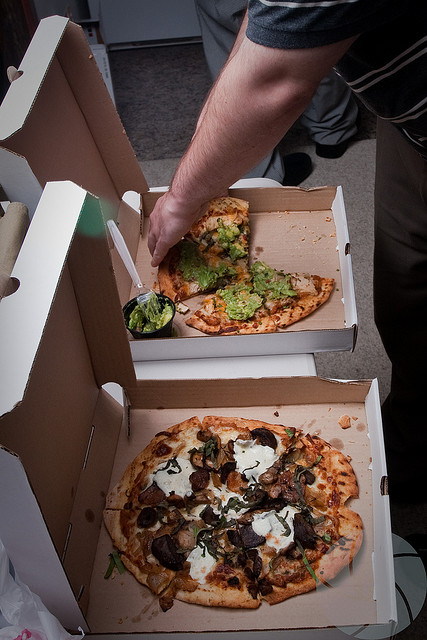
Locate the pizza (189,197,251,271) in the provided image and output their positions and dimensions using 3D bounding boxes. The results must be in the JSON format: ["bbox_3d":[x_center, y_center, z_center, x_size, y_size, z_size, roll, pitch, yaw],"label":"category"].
[{"bbox_3d":[0.024,-0.198,1.133,0.135,0.069,0.180,3,57,2],"label":"pizza"}]

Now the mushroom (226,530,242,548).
[{"bbox_3d":[0.030,0.303,0.671,0.012,0.005,0.021,-13,50,2],"label":"mushroom"}]

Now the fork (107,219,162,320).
[{"bbox_3d":[-0.130,-0.058,0.986,0.052,0.313,0.036,-30,45,-11],"label":"fork"}]

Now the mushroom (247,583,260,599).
[{"bbox_3d":[0.053,0.350,0.625,0.014,0.005,0.019,-7,56,1],"label":"mushroom"}]

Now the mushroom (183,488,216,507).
[{"bbox_3d":[-0.019,0.264,0.715,0.033,0.012,0.021,-3,47,9],"label":"mushroom"}]

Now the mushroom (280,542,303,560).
[{"bbox_3d":[0.106,0.320,0.658,0.026,0.007,0.023,-30,59,-14],"label":"mushroom"}]

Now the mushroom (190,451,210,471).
[{"bbox_3d":[-0.012,0.221,0.756,0.021,0.009,0.025,-5,60,-12],"label":"mushroom"}]

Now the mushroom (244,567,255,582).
[{"bbox_3d":[0.048,0.335,0.636,0.018,0.005,0.010,31,64,23],"label":"mushroom"}]

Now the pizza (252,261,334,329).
[{"bbox_3d":[0.165,-0.055,1.017,0.126,0.016,0.143,-23,49,-4],"label":"pizza"}]

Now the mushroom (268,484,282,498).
[{"bbox_3d":[0.091,0.251,0.707,0.013,0.005,0.018,-10,38,25],"label":"mushroom"}]

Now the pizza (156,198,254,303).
[{"bbox_3d":[-0.005,-0.153,1.118,0.232,0.063,0.237,-10,61,4],"label":"pizza"}]

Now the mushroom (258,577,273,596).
[{"bbox_3d":[0.067,0.346,0.627,0.017,0.007,0.019,-26,58,-12],"label":"mushroom"}]

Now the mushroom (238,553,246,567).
[{"bbox_3d":[0.039,0.324,0.652,0.010,0.005,0.014,1,56,7],"label":"mushroom"}]

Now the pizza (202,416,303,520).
[{"bbox_3d":[0.054,0.212,0.759,0.123,0.017,0.128,7,54,14],"label":"pizza"}]

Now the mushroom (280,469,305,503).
[{"bbox_3d":[0.122,0.244,0.707,0.026,0.008,0.035,-2,43,7],"label":"mushroom"}]

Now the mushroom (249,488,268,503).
[{"bbox_3d":[0.066,0.255,0.703,0.020,0.005,0.020,2,59,55],"label":"mushroom"}]

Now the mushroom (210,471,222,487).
[{"bbox_3d":[0.005,0.243,0.737,0.013,0.006,0.023,-19,45,2],"label":"mushroom"}]

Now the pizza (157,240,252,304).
[{"bbox_3d":[-0.020,-0.107,1.096,0.178,0.046,0.141,6,58,2],"label":"pizza"}]

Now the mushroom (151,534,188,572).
[{"bbox_3d":[-0.061,0.317,0.655,0.030,0.012,0.045,-27,55,-13],"label":"mushroom"}]

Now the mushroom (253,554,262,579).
[{"bbox_3d":[0.061,0.328,0.646,0.014,0.010,0.044,1,34,9],"label":"mushroom"}]

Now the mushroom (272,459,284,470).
[{"bbox_3d":[0.099,0.222,0.741,0.008,0.016,0.004,25,106,11],"label":"mushroom"}]
